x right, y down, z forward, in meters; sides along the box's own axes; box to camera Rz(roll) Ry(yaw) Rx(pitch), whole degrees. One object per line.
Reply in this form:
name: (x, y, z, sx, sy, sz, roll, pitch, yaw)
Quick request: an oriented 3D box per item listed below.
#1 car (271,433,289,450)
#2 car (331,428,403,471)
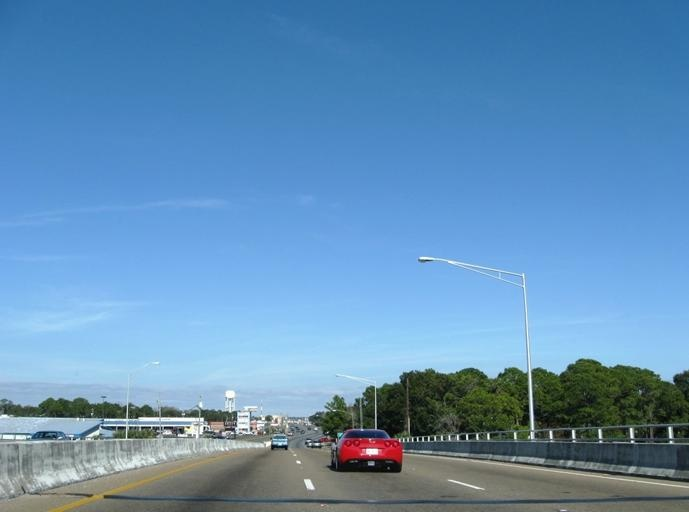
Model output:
car: (-6.571, 18.888, 72.015, 1.712, 1.432, 3.005, 0, -23, -4)
car: (0.792, 7.454, 27.282, 2.207, 1.545, 2.947, 4, -16, -15)
